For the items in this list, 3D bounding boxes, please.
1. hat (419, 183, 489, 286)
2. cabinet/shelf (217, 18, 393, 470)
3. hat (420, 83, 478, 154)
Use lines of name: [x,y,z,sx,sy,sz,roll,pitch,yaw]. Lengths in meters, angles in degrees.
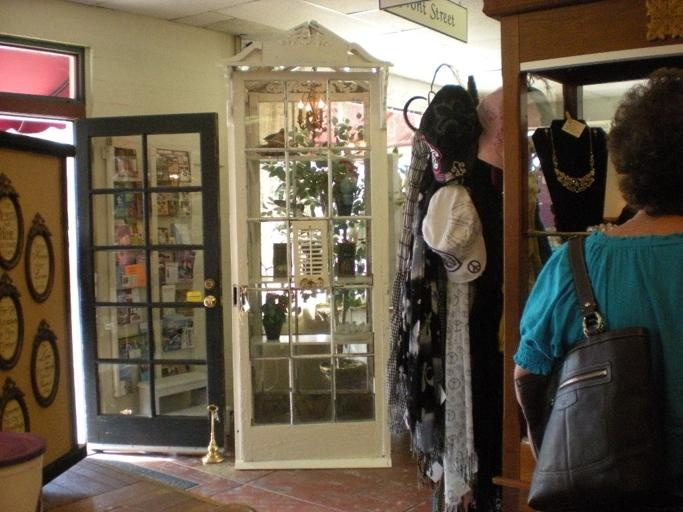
hat: [0.472,-0.094,2.832,0.265,0.360,0.182,-12,2,33]
cabinet/shelf: [-0.204,-0.044,4.210,0.984,2.613,0.281,-1,6,-1]
hat: [0.437,-0.540,2.790,0.281,0.292,0.206,-7,3,-19]
